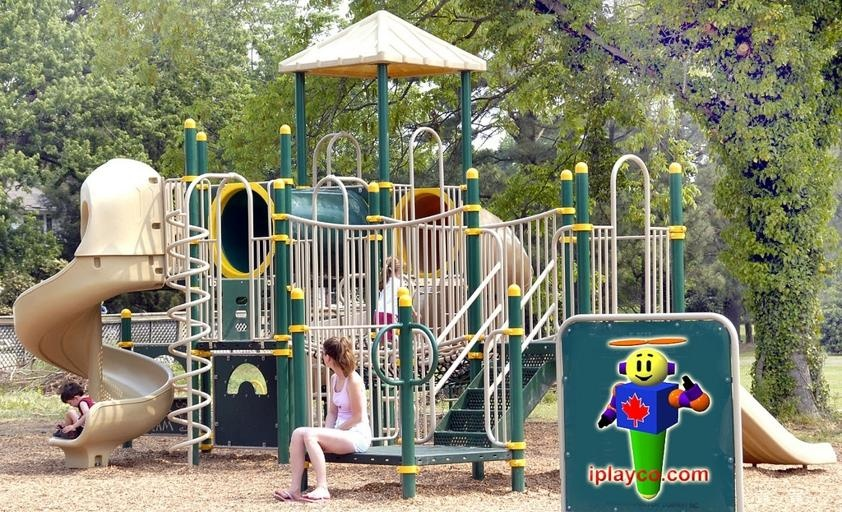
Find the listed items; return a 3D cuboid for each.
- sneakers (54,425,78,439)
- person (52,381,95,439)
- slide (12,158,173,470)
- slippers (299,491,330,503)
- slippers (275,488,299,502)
[{"bbox_3d":[-7.257,3.607,28.071,0.612,0.290,0.219,3,-2,13],"label":"sneakers"},{"bbox_3d":[-7.143,3.170,28.211,0.878,1.158,0.855,1,-3,-14],"label":"person"},{"bbox_3d":[-6.630,1.115,28.484,2.961,6.132,2.260,-4,7,0],"label":"slide"},{"bbox_3d":[-1.987,4.538,25.860,0.392,0.181,0.230,6,-11,-9],"label":"slippers"},{"bbox_3d":[-2.541,4.550,25.969,0.435,0.143,0.199,10,-20,-6],"label":"slippers"}]
